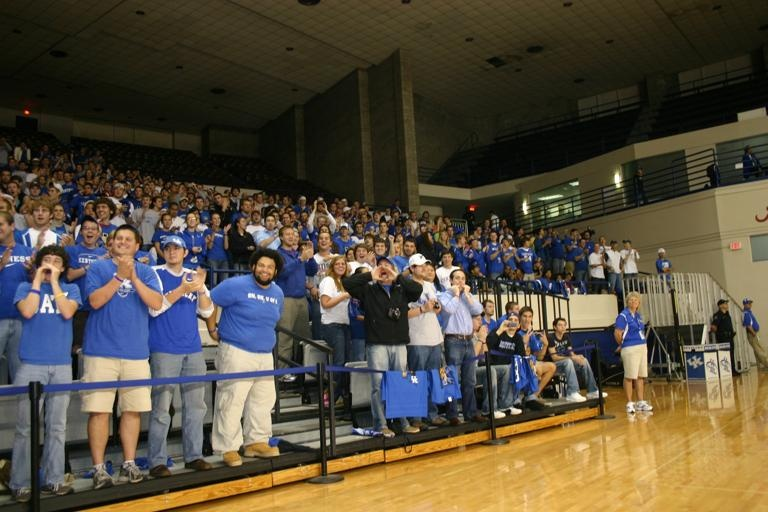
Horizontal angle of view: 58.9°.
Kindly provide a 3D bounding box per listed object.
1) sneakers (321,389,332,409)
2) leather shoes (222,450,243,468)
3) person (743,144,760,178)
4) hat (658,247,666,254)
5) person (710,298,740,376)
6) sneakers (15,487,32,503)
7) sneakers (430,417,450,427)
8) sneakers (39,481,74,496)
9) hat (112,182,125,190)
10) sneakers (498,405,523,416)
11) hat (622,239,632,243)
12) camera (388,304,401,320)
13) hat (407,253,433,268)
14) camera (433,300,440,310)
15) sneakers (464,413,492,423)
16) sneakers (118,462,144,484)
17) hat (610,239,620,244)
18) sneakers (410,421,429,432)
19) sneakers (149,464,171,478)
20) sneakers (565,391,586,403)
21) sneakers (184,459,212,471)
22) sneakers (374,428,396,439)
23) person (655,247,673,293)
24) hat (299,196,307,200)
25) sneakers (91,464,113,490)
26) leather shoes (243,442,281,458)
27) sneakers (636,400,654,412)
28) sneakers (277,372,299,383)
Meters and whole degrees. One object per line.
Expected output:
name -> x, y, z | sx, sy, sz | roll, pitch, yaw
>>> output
sneakers -> -0.947, 2.373, 11.361 | 0.181, 0.226, 0.553 | 0, -13, -3
leather shoes -> -2.173, 2.924, 9.826 | 0.146, 0.134, 0.301 | 3, -13, -32
person -> 12.217, -3.060, 22.518 | 0.622, 1.149, 0.513 | 7, -12, -41
hat -> 9.156, -0.186, 22.317 | 0.176, 0.134, 0.236 | -2, -8, 15
person -> 10.169, 2.370, 20.342 | 0.639, 2.270, 1.416 | -6, -10, 27
sneakers -> -4.693, 3.101, 8.850 | 0.170, 0.166, 0.564 | 4, -11, -32
sneakers -> 0.967, 2.825, 11.584 | 0.341, 0.152, 0.131 | -2, 5, 4
sneakers -> -4.311, 3.076, 9.009 | 0.413, 0.184, 0.170 | -3, -17, 5
hat -> -6.227, -1.654, 16.036 | 0.342, 0.164, 0.483 | 3, 8, -29
sneakers -> 2.394, 2.890, 12.724 | 0.474, 0.197, 0.178 | -3, -7, 4
hat -> 8.185, -0.511, 22.793 | 0.195, 0.118, 0.219 | 0, -3, 5
camera -> 0.195, 0.920, 11.101 | 0.185, 0.204, 0.153 | 12, -8, 11
hat -> 0.568, 0.072, 11.737 | 0.227, 0.167, 0.303 | -1, -8, -35
camera -> 0.889, 0.804, 11.209 | 0.078, 0.114, 0.111 | -5, -9, 17
sneakers -> 1.658, 2.829, 11.958 | 0.511, 0.231, 0.162 | -6, -6, 12
sneakers -> -3.437, 2.943, 9.314 | 0.335, 0.273, 0.251 | 2, -10, -19
hat -> 8.075, -0.510, 23.625 | 0.227, 0.137, 0.287 | 4, -2, -31
sneakers -> 0.626, 2.801, 11.271 | 0.141, 0.103, 0.244 | 2, 1, -41
sneakers -> -3.096, 2.980, 9.468 | 0.257, 0.109, 0.142 | -7, -10, 39
sneakers -> 3.861, 2.821, 13.662 | 0.402, 0.183, 0.167 | -4, -4, 33
sneakers -> -2.626, 2.970, 9.688 | 0.435, 0.192, 0.156 | -3, -7, 16
sneakers -> 0.029, 2.844, 10.966 | 0.345, 0.151, 0.120 | 0, 15, -3
person -> 8.633, 0.415, 20.884 | 0.378, 1.331, 0.985 | -5, -10, 23
hat -> -2.540, -1.839, 21.535 | 0.282, 0.142, 0.432 | 1, 8, -10
sneakers -> -3.764, 2.953, 9.151 | 0.247, 0.304, 0.147 | 1, -9, -17
leather shoes -> -1.803, 2.860, 10.104 | 0.494, 0.218, 0.220 | 1, -7, 0
sneakers -> 5.361, 3.070, 13.968 | 0.172, 0.166, 0.336 | 1, -6, -39
sneakers -> -1.724, 2.176, 12.089 | 0.282, 0.130, 0.351 | -1, -4, 27
